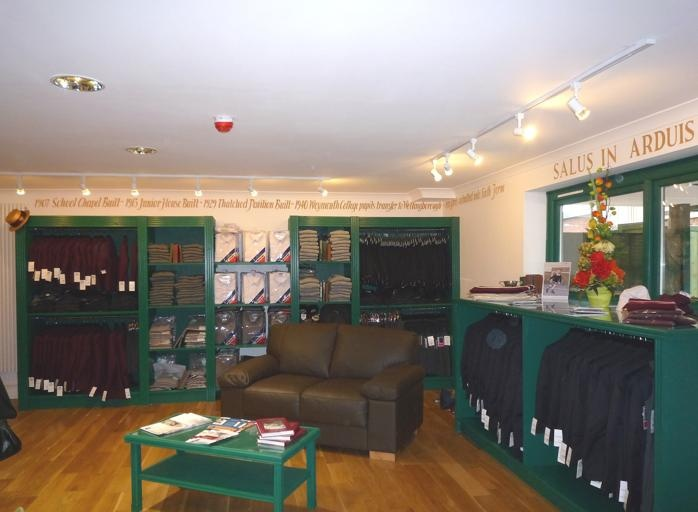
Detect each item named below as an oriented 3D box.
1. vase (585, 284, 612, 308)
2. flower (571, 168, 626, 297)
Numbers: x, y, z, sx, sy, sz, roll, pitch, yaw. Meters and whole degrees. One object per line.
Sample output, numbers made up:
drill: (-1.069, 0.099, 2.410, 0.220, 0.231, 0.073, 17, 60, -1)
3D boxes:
vase: (1.938, 0.316, 4.121, 0.176, 0.136, 0.176, -1, -5, 18)
flower: (2.257, -0.209, 4.841, 0.422, 1.062, 1.749, -3, -1, 24)
